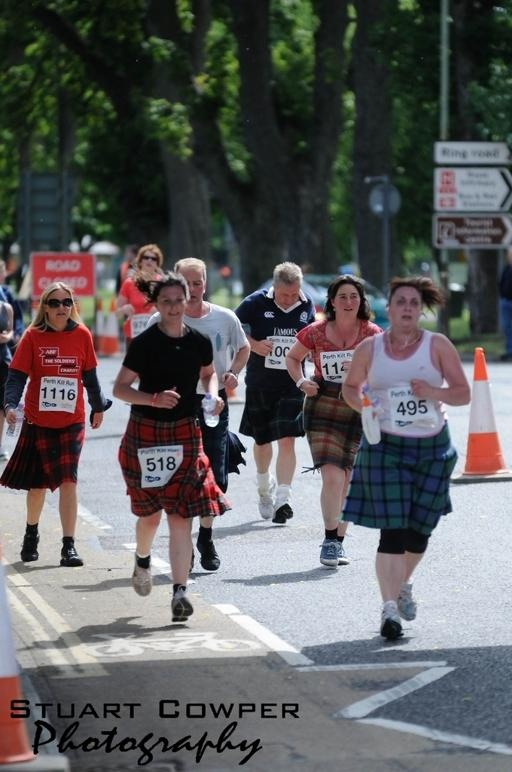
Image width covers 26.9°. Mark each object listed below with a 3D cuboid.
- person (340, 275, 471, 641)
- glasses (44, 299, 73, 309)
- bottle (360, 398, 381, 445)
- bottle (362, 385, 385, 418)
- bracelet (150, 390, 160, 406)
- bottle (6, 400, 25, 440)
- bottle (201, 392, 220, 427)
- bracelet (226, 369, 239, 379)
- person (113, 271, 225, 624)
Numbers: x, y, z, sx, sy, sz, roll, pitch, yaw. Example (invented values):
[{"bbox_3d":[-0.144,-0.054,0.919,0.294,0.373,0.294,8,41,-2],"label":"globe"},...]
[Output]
[{"bbox_3d":[0.646,0.290,4.720,0.494,1.546,0.510,-1,1,-19],"label":"person"},{"bbox_3d":[-1.125,-0.475,6.122,0.152,0.054,0.089,0,2,-12],"label":"glasses"},{"bbox_3d":[0.499,0.150,4.549,0.078,0.214,0.209,0,2,8],"label":"bottle"},{"bbox_3d":[0.512,0.066,4.578,0.064,0.115,0.076,-34,38,13],"label":"bottle"},{"bbox_3d":[-0.447,0.061,4.833,0.033,0.059,0.093,0,2,-9],"label":"bracelet"},{"bbox_3d":[-1.396,0.204,6.216,0.091,0.198,0.287,0,2,-12],"label":"bottle"},{"bbox_3d":[-0.233,0.114,5.575,0.092,0.205,0.090,-4,50,5],"label":"bottle"},{"bbox_3d":[-0.129,-0.068,6.159,0.055,0.050,0.036,20,3,17],"label":"bracelet"},{"bbox_3d":[-0.394,0.264,5.089,0.519,1.582,0.708,0,1,-1],"label":"person"}]
